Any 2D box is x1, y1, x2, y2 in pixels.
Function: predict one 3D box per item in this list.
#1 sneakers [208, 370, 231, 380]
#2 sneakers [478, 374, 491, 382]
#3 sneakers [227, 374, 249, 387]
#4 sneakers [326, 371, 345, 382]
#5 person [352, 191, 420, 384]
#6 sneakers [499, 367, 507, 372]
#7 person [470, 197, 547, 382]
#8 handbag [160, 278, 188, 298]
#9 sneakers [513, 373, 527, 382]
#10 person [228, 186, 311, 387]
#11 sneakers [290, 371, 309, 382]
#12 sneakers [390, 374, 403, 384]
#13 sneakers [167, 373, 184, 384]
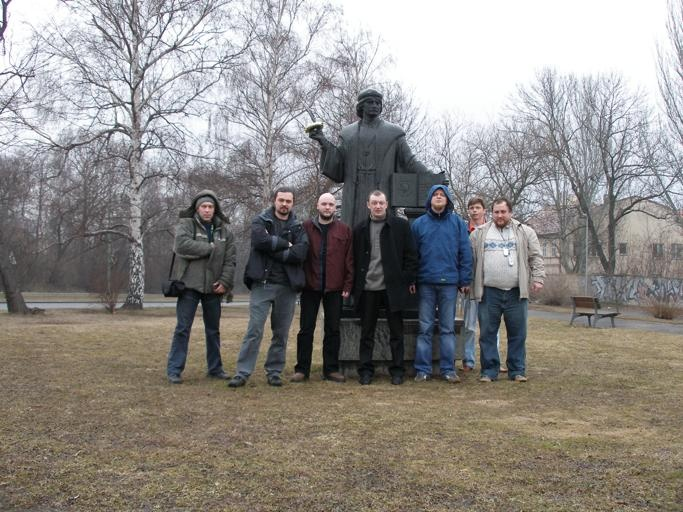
[{"bbox_3d":[-1.541,1.500,8.184,0.306,0.136,0.110,-3,-1,22],"label":"sneakers"},{"bbox_3d":[1.803,1.528,8.109,0.147,0.064,0.136,2,7,19],"label":"sneakers"},{"bbox_3d":[-1.229,1.471,7.646,0.094,0.117,0.282,2,-14,8],"label":"sneakers"},{"bbox_3d":[-0.069,1.504,8.115,0.202,0.089,0.100,-7,-6,42],"label":"sneakers"},{"bbox_3d":[0.520,0.391,8.017,0.785,2.385,0.451,0,5,5],"label":"person"},{"bbox_3d":[2.238,1.567,8.968,0.082,0.070,0.165,5,3,-3],"label":"sneakers"},{"bbox_3d":[2.102,0.512,8.251,0.895,2.091,0.641,1,6,11],"label":"person"},{"bbox_3d":[-2.018,0.404,7.878,0.241,0.193,0.195,-3,-9,21],"label":"handbag"},{"bbox_3d":[2.260,1.532,8.185,0.150,0.074,0.081,-3,-1,-5],"label":"sneakers"},{"bbox_3d":[-0.848,0.354,7.809,0.892,2.336,0.493,-1,6,-9],"label":"person"},{"bbox_3d":[-0.530,1.503,8.088,0.084,0.116,0.261,-4,-17,21],"label":"sneakers"},{"bbox_3d":[0.697,1.513,8.041,0.151,0.111,0.299,0,6,4],"label":"sneakers"},{"bbox_3d":[-1.999,1.464,7.792,0.176,0.082,0.222,-2,7,-19],"label":"sneakers"}]
